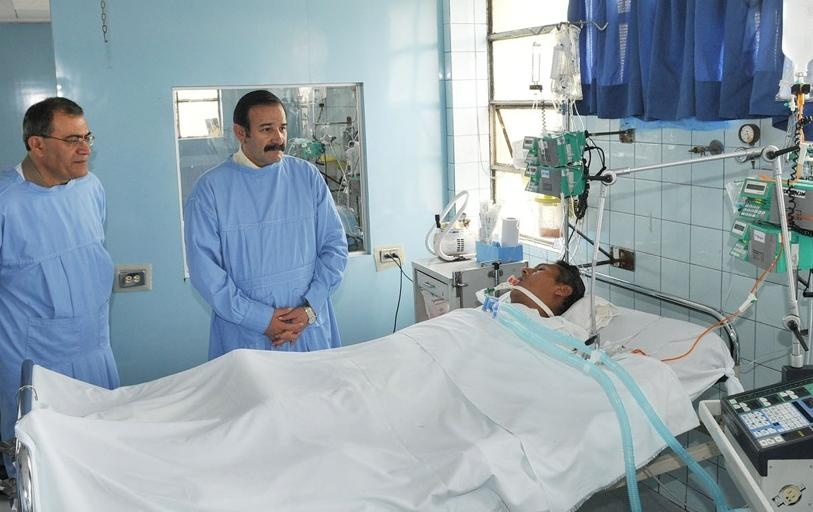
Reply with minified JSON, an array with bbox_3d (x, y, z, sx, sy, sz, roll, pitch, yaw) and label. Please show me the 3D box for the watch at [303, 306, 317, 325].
[{"bbox_3d":[-0.539,0.336,3.323,0.064,0.099,0.095,-14,0,-40],"label":"watch"}]
